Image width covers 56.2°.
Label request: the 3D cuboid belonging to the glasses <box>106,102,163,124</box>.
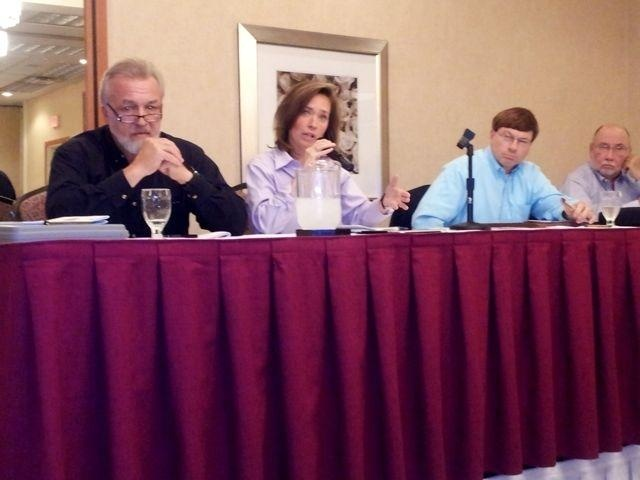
[{"bbox_3d":[-0.679,-0.467,2.213,0.189,0.073,0.075,-3,11,-21],"label":"glasses"}]

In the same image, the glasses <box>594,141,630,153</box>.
[{"bbox_3d":[1.719,-0.553,3.528,0.199,0.060,0.106,5,11,22],"label":"glasses"}]

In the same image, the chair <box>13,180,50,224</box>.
[{"bbox_3d":[-1.077,-0.134,2.311,0.130,0.155,0.122,-11,-20,39],"label":"chair"}]
